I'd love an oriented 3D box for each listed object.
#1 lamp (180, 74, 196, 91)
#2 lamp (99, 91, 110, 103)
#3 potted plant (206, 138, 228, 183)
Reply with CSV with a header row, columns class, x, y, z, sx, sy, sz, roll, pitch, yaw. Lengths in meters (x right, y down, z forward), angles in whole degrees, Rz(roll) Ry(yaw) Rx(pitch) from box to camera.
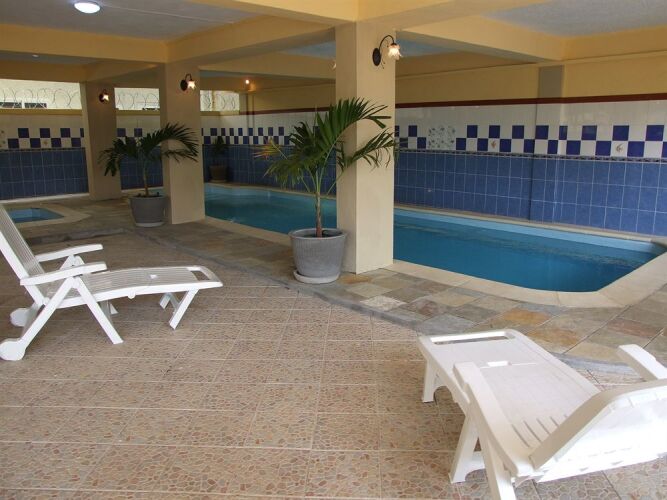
class,x,y,z,sx,sy,sz,roll,pitch,yaw
lamp,-2.767,-3.191,7.830,0.272,0.322,0.143,1,11,-19
lamp,-5.653,-3.785,10.123,0.294,0.168,0.144,-23,34,-25
potted plant,-3.923,-3.091,14.063,0.654,1.498,0.618,2,11,-16
